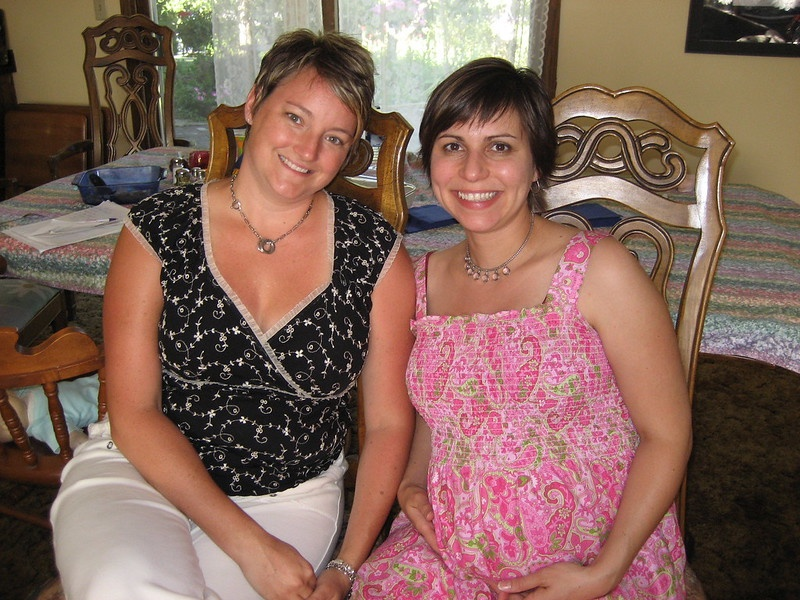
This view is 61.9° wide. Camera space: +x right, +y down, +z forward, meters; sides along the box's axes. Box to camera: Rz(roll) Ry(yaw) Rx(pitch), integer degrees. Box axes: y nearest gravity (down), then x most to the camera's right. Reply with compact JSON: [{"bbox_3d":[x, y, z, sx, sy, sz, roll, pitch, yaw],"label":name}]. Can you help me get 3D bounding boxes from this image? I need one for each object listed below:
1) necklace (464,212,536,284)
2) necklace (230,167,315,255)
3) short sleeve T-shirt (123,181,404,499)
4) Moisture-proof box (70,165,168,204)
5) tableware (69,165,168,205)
[{"bbox_3d":[0.243,-0.119,1.657,0.150,0.184,0.046,5,-22,38],"label":"necklace"},{"bbox_3d":[-0.332,-0.228,1.693,0.232,0.254,0.029,5,17,-4],"label":"necklace"},{"bbox_3d":[-0.357,0.104,1.663,0.808,0.690,0.394,2,20,-12],"label":"short sleeve T-shirt"},{"bbox_3d":[-1.070,-0.443,2.536,0.328,0.097,0.233,-6,27,-7],"label":"Moisture-proof box"},{"bbox_3d":[-1.071,-0.443,2.535,0.328,0.097,0.233,-5,27,-6],"label":"tableware"}]
